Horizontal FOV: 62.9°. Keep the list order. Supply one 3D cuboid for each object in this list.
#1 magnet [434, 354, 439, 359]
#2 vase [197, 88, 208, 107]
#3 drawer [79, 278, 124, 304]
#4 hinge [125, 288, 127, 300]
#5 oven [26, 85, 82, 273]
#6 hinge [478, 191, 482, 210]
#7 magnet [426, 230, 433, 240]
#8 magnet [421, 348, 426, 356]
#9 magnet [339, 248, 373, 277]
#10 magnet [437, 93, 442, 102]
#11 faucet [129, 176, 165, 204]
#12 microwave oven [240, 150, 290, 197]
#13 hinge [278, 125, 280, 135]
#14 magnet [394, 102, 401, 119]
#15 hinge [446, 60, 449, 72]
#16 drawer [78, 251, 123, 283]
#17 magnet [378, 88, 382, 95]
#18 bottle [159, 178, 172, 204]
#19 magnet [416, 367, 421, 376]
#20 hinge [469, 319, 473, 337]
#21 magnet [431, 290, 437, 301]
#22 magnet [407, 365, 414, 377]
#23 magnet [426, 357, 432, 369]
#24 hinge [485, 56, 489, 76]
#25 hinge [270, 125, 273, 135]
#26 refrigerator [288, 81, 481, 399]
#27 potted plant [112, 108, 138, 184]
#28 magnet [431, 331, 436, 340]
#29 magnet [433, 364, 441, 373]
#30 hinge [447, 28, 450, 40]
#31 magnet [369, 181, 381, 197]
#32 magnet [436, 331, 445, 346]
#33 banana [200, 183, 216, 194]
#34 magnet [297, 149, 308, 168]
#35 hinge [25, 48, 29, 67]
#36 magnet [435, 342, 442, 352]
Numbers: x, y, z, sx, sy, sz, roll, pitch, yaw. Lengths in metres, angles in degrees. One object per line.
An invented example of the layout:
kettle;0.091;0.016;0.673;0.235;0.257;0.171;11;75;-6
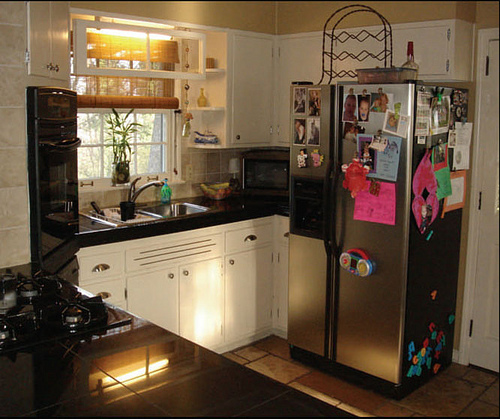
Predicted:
magnet;1.422;1.132;3.131;0.044;0.013;0.049;6;7;24
vase;-0.432;-1.026;3.739;0.093;0.175;0.118;2;9;-5
drawer;-1.010;0.501;2.824;0.159;0.154;0.244;5;8;40
hinge;-0.868;0.599;2.877;0.014;0.087;0.004;-6;12;-45
oven;-1.027;-0.168;2.177;0.199;0.999;0.560;1;9;-12
hinge;1.806;-0.068;3.221;0.029;0.148;0.006;5;9;11
magnet;1.244;0.179;2.851;0.016;0.093;0.021;16;-29;31
magnet;1.253;1.038;2.968;0.037;0.054;0.012;4;1;-40
magnet;0.742;0.369;2.837;0.050;0.145;0.188;-6;15;-38
magnet;1.277;-0.761;2.766;0.067;0.055;0.009;-5;12;-41
faucet;-0.851;-0.154;3.369;0.263;0.231;0.477;1;10;-17
microwave oven;0.196;-0.345;4.112;0.675;0.510;0.376;4;6;20
hinge;0.281;-0.776;3.966;0.018;0.089;0.004;9;11;35
magnet;0.929;-0.638;2.619;0.031;0.099;0.068;3;2;12
hinge;1.448;-1.062;3.009;0.024;0.080;0.006;5;9;14
drawer;-1.062;0.379;2.858;0.334;0.188;0.329;-4;5;-41
magnet;0.847;-0.776;2.671;0.023;0.032;0.008;-18;-8;36
bottle;-0.752;-0.167;3.669;0.114;0.222;0.345;1;10;-11
magnet;1.216;1.181;2.957;0.046;0.064;0.016;5;2;-39
hinge;1.793;0.971;3.329;0.025;0.143;0.013;9;10;32
magnet;1.340;0.629;2.987;0.015;0.067;0.065;7;-32;35
magnet;1.130;1.145;2.881;0.014;0.061;0.062;13;5;25
magnet;1.331;1.148;3.060;0.022;0.086;0.077;10;45;39
hinge;1.793;-1.091;3.097;0.030;0.142;0.012;5;9;10
hinge;0.210;-0.778;3.986;0.038;0.085;0.009;-4;11;-40
refrigerator;0.879;0.211;3.037;1.356;2.249;0.636;6;9;16
potted plant;-1.056;-0.539;3.480;0.203;0.631;0.382;1;9;-16
magnet;1.367;0.947;3.055;0.015;0.050;0.052;5;-2;28
magnet;1.431;1.226;3.152;0.040;0.068;0.017;43;-16;-32
hinge;1.438;-1.281;2.972;0.022;0.063;0.007;8;10;29
magnet;0.835;-0.144;2.752;0.022;0.081;0.082;-1;22;-36
magnet;1.461;1.000;3.164;0.080;0.112;0.029;0;-9;-20
banana;-0.392;-0.197;3.846;0.087;0.030;0.099;30;8;1
magnet;0.396;-0.387;3.075;0.018;0.164;0.111;-10;16;-37
hinge;-1.068;-0.739;1.967;0.026;0.073;0.006;9;10;31
magnet;1.445;1.067;3.151;0.065;0.064;0.023;-25;-42;32
